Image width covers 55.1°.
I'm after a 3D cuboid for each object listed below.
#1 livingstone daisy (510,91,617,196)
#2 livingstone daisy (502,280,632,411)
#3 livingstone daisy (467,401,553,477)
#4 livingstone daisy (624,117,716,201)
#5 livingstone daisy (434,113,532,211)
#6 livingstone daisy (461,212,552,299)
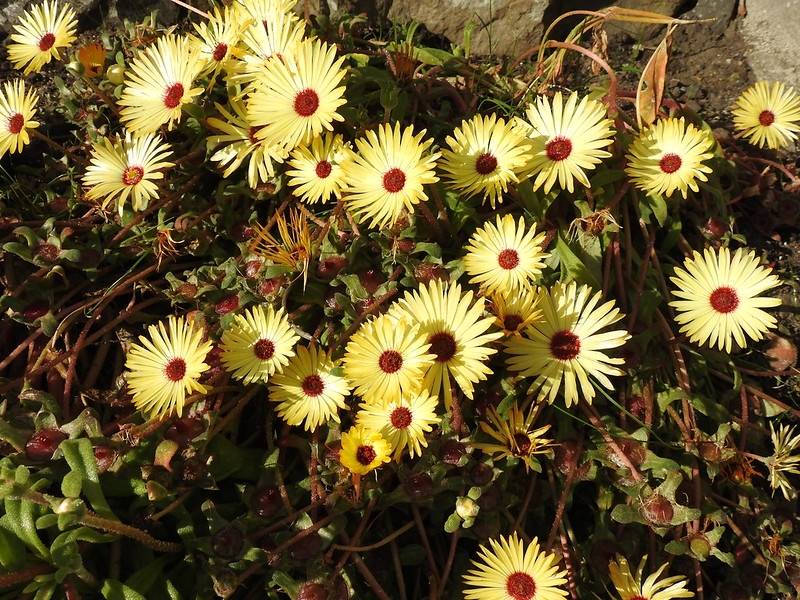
[{"bbox_3d":[0.513,-0.501,2.408,0.298,0.308,0.125,9,62,34],"label":"livingstone daisy"},{"bbox_3d":[0.493,0.124,2.278,0.361,0.143,0.373,-1,87,12],"label":"livingstone daisy"},{"bbox_3d":[0.351,0.395,2.274,0.250,0.255,0.104,-10,98,-30],"label":"livingstone daisy"},{"bbox_3d":[0.833,-0.446,2.384,0.250,0.104,0.267,29,96,18],"label":"livingstone daisy"},{"bbox_3d":[0.255,-0.432,2.337,0.286,0.145,0.298,6,93,28],"label":"livingstone daisy"},{"bbox_3d":[0.315,-0.146,2.241,0.190,0.195,0.078,-14,113,-19],"label":"livingstone daisy"}]
